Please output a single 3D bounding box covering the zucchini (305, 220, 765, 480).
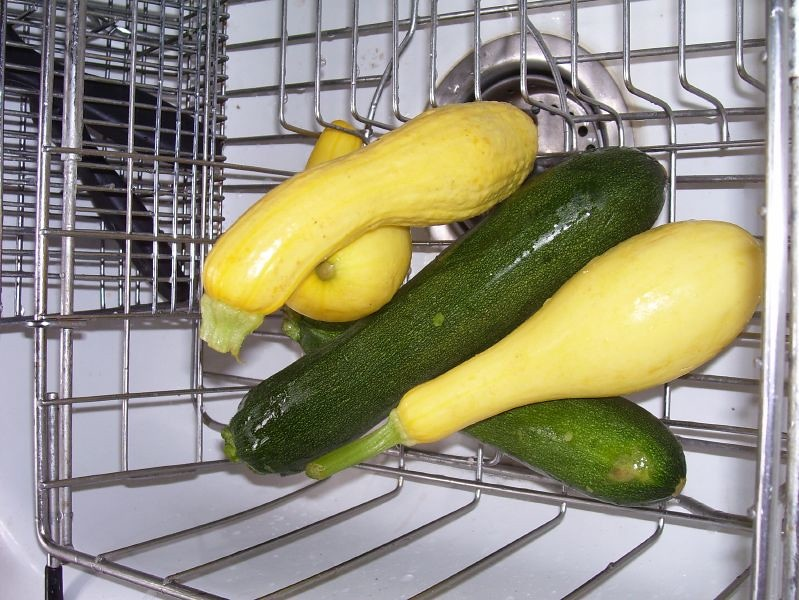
[{"bbox_3d":[0.097,0.036,0.738,0.501,0.129,0.132,-21,6,10],"label":"zucchini"}]

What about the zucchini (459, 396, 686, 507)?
[{"bbox_3d":[0.172,0.143,0.708,0.199,0.076,0.071,7,-13,20],"label":"zucchini"}]
